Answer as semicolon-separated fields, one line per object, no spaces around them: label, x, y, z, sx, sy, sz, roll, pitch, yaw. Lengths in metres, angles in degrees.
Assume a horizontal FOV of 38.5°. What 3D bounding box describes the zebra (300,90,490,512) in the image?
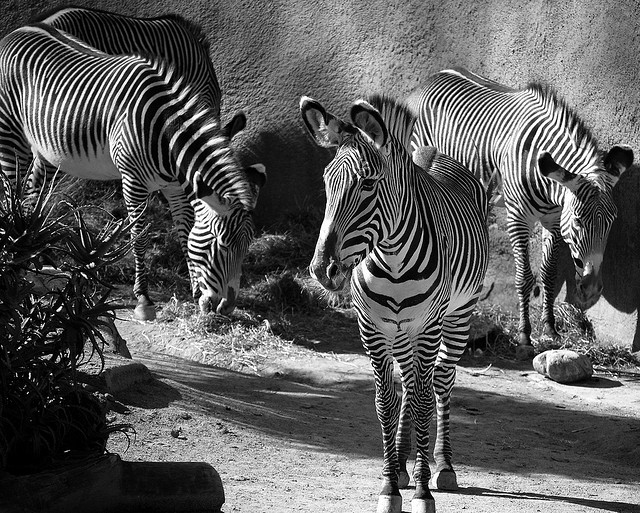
zebra;0.513;0.276;5.865;0.953;2.396;1.754;12;10;34
